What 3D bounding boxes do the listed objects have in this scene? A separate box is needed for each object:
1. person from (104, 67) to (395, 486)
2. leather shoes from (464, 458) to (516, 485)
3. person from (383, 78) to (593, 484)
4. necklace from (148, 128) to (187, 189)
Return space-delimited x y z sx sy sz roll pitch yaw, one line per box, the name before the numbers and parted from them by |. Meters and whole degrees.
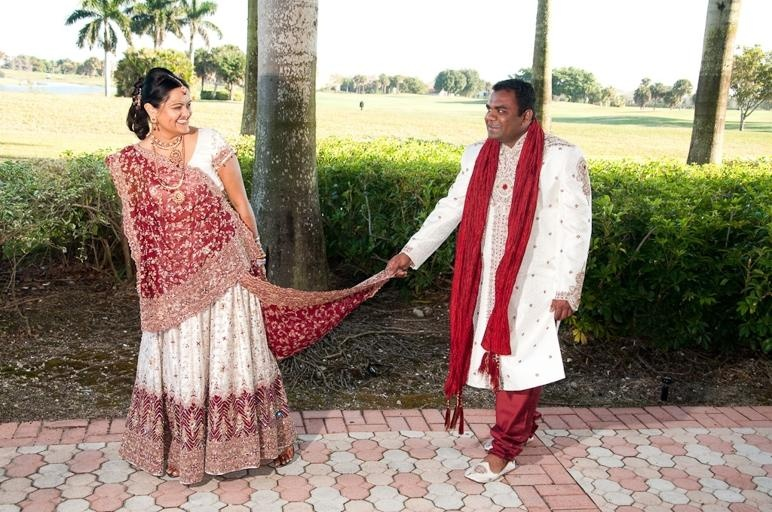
person | -1.134 0.176 4.168 1.392 2.741 0.889 -1 21 -12
leather shoes | 0.754 1.549 4.458 0.337 0.087 0.141 -4 4 -23
person | 0.833 0.173 4.447 1.142 2.809 0.919 20 26 37
necklace | -1.432 -0.620 4.084 0.212 0.345 0.191 -2 20 -14
